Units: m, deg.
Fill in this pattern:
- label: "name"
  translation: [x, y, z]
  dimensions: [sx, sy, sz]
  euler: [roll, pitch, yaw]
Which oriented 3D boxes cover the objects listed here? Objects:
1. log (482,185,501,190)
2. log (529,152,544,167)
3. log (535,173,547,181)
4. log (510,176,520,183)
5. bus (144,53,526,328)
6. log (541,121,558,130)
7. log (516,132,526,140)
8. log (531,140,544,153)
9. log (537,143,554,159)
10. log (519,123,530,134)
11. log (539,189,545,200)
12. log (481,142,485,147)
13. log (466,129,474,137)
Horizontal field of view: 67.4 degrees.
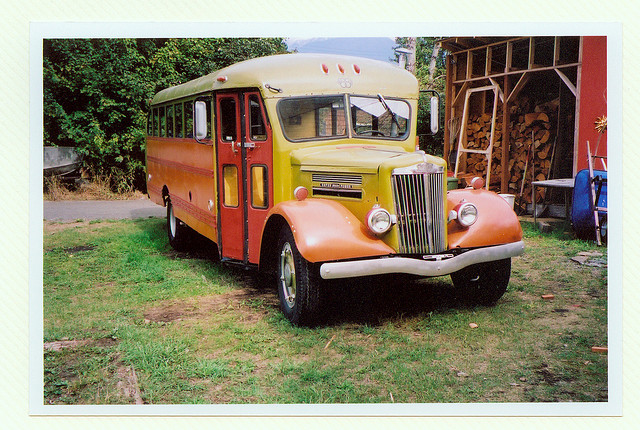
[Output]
- label: "log"
  translation: [4.728, -0.764, 13.190]
  dimensions: [0.541, 0.132, 0.087]
  euler: [-3, -6, -19]
- label: "log"
  translation: [5.892, -1.496, 13.024]
  dimensions: [0.309, 0.318, 0.093]
  euler: [1, -6, 38]
- label: "log"
  translation: [5.919, -1.034, 12.853]
  dimensions: [0.141, 0.184, 0.408]
  euler: [-1, 7, -15]
- label: "log"
  translation: [5.434, -1.000, 13.381]
  dimensions: [0.043, 0.151, 0.174]
  euler: [15, -12, -32]
- label: "bus"
  translation: [-0.596, -0.630, 8.378]
  dimensions: [3.436, 3.005, 6.967]
  euler: [-1, 3, -36]
- label: "log"
  translation: [6.139, -2.410, 12.869]
  dimensions: [0.397, 0.227, 0.193]
  euler: [4, 8, 30]
- label: "log"
  translation: [5.599, -2.221, 13.438]
  dimensions: [0.044, 0.161, 0.160]
  euler: [14, -5, -33]
- label: "log"
  translation: [5.893, -1.858, 12.977]
  dimensions: [0.063, 0.267, 0.262]
  euler: [-2, 27, -47]
- label: "log"
  translation: [6.029, -1.715, 12.820]
  dimensions: [0.339, 0.416, 0.223]
  euler: [1, 7, 8]
- label: "log"
  translation: [5.652, -2.410, 13.328]
  dimensions: [0.053, 0.204, 0.212]
  euler: [11, -22, -28]
- label: "log"
  translation: [5.830, -0.566, 12.613]
  dimensions: [0.083, 0.218, 0.304]
  euler: [2, 7, 15]
- label: "log"
  translation: [4.906, -2.123, 14.421]
  dimensions: [0.025, 0.099, 0.103]
  euler: [7, -4, -28]
- label: "log"
  translation: [4.667, -2.561, 14.896]
  dimensions: [0.048, 0.192, 0.186]
  euler: [-5, 30, -41]
